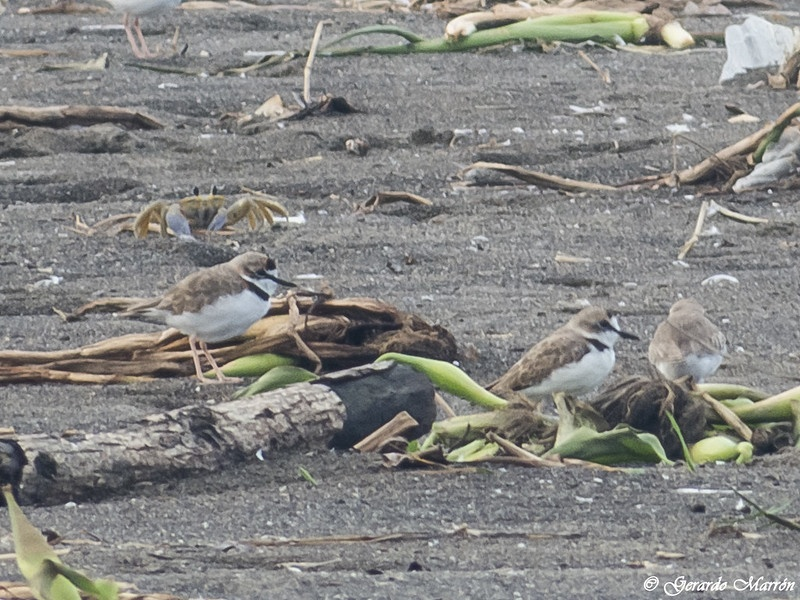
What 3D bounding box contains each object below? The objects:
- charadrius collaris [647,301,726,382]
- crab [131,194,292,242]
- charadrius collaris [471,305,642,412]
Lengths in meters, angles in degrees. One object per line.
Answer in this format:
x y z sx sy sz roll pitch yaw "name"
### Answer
1.523 0.210 9.198 0.362 0.330 0.437 2 38 13 "charadrius collaris"
-1.154 -0.518 10.403 0.926 0.258 0.278 -3 19 -14 "crab"
0.824 0.332 9.234 0.866 0.579 0.425 -2 -2 22 "charadrius collaris"
